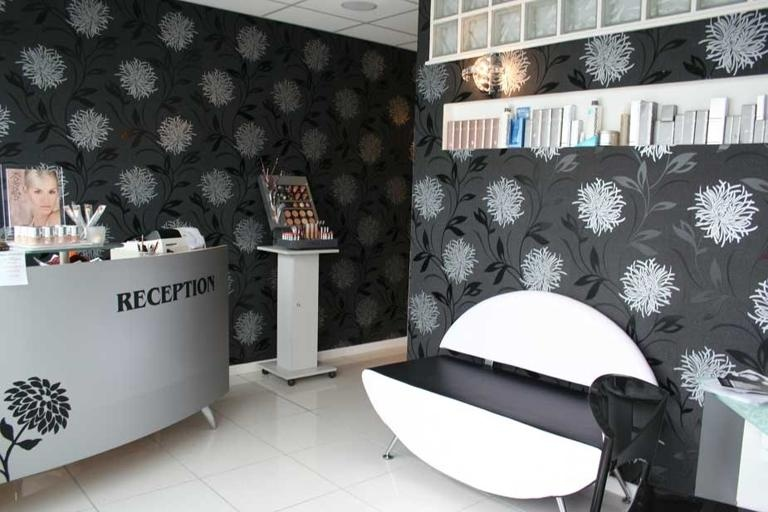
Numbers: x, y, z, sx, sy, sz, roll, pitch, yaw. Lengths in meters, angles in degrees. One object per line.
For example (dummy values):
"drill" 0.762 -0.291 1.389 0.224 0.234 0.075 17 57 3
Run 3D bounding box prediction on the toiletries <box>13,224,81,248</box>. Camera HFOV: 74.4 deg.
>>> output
"toiletries" -2.304 -0.151 3.420 0.389 0.115 0.255 -4 13 -30

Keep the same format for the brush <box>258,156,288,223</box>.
"brush" -1.201 -0.693 5.448 0.254 0.731 0.196 1 14 -23

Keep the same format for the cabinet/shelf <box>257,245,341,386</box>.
"cabinet/shelf" -0.942 0.613 5.614 0.726 1.573 0.773 6 6 41
